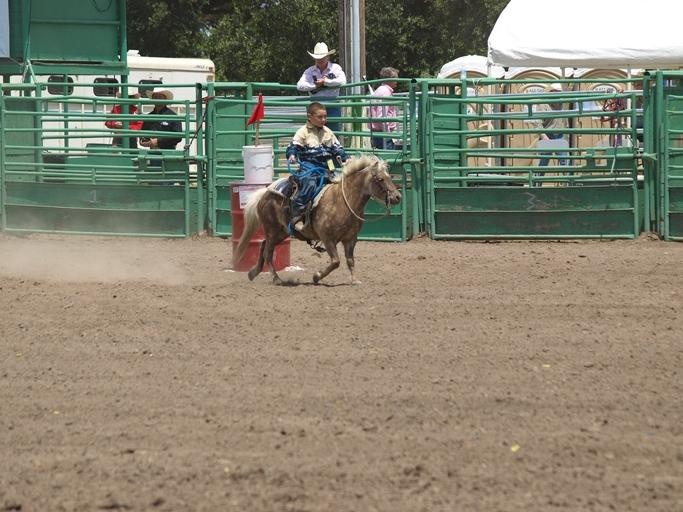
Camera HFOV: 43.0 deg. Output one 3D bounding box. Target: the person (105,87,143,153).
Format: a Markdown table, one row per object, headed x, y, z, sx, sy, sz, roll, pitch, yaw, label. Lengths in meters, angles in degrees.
| x | y | z | sx | sy | sz | roll | pitch | yaw | label |
| --- | --- | --- | --- | --- | --- | --- | --- | --- | --- |
| -4.103 | -2.343 | 16.469 | 0.597 | 1.460 | 0.594 | 3 | 19 | -11 | person |

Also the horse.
| x | y | z | sx | sy | sz | roll | pitch | yaw | label |
| --- | --- | --- | --- | --- | --- | --- | --- | --- | --- |
| -0.364 | -0.418 | 10.814 | 2.565 | 1.673 | 0.751 | 2 | 3 | 37 | horse |

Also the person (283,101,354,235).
| x | y | z | sx | sy | sz | roll | pitch | yaw | label |
| --- | --- | --- | --- | --- | --- | --- | --- | --- | --- |
| -0.301 | -1.013 | 10.576 | 0.746 | 1.596 | 0.720 | -11 | 20 | -25 | person |
